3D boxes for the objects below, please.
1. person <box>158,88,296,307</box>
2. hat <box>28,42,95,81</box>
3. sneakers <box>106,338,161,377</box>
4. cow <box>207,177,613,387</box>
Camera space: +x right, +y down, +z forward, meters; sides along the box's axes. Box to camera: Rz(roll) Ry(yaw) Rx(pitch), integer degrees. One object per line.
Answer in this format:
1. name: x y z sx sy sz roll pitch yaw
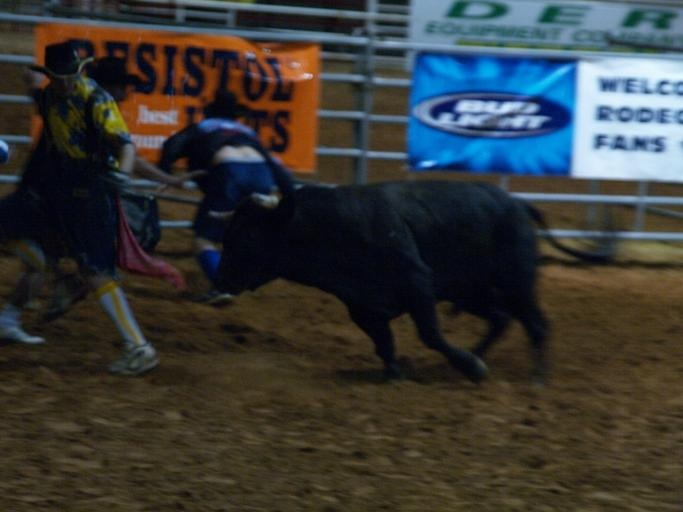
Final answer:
1. person: -0.778 -0.455 6.478 1.253 1.357 0.922 1 -3 -3
2. hat: -1.693 -1.219 5.317 0.336 0.110 0.304 -17 40 -21
3. sneakers: -1.309 0.619 5.395 0.191 0.152 0.343 9 18 37
4. cow: 0.337 0.128 5.660 2.105 1.234 0.690 5 16 9
